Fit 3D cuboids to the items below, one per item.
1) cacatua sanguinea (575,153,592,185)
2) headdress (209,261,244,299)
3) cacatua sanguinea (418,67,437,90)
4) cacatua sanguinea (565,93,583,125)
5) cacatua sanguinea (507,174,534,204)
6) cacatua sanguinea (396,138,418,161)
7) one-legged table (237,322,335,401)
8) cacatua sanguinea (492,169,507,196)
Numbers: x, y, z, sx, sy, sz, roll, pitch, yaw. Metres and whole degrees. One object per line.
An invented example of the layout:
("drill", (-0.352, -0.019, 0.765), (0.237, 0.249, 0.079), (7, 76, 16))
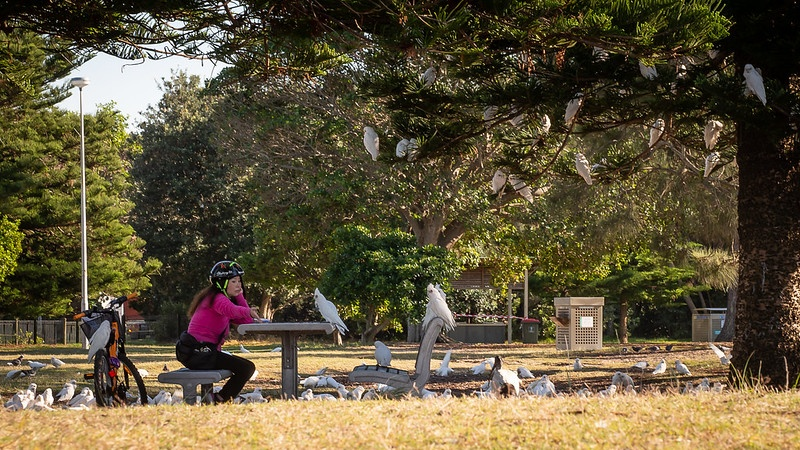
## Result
("cacatua sanguinea", (4.321, -1.331, 29.040), (0.393, 0.948, 0.305), (-14, -25, 27))
("headdress", (-3.831, 1.121, 27.151), (0.819, 0.759, 0.734), (3, 9, 34))
("cacatua sanguinea", (0.675, -3.384, 28.406), (0.371, 0.618, 0.575), (-2, -9, 3))
("cacatua sanguinea", (3.991, -2.649, 28.168), (0.425, 0.547, 0.607), (-3, -9, 6))
("cacatua sanguinea", (2.873, -0.897, 29.480), (0.456, 0.514, 0.556), (-3, -9, 8))
("cacatua sanguinea", (0.181, -1.715, 28.141), (0.524, 0.492, 0.197), (-2, -8, 0))
("one-legged table", (-2.429, 3.199, 27.340), (2.362, 1.801, 2.325), (2, -9, -18))
("cacatua sanguinea", (2.406, -1.013, 29.572), (0.336, 0.701, 0.202), (15, 4, 9))
